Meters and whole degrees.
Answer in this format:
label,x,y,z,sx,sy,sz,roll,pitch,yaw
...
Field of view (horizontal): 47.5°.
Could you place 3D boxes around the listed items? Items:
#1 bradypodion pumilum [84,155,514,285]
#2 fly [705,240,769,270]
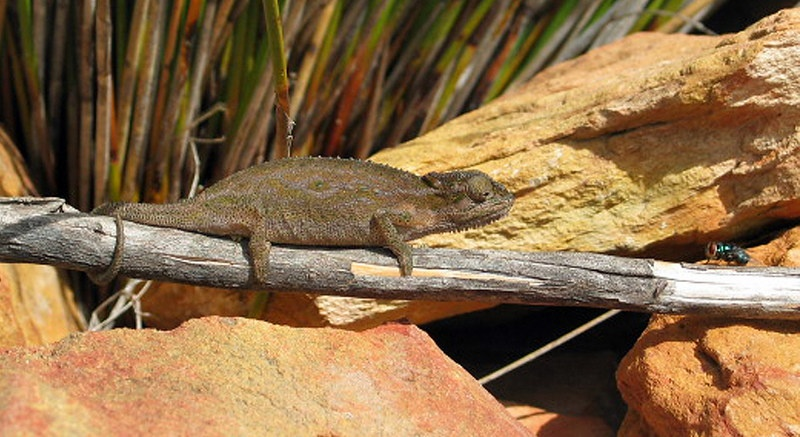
label,x,y,z,sx,sy,sz,roll,pitch,yaw
bradypodion pumilum,-0.528,0.030,5.693,2.327,1.017,0.555,11,37,-13
fly,2.167,0.236,5.903,0.230,0.195,0.230,7,2,5
